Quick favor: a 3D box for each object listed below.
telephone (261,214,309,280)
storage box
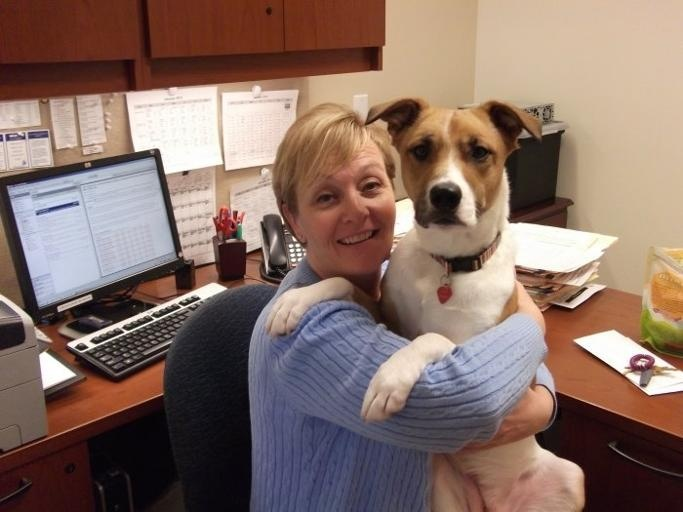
[{"bbox_3d":[-0.243,0.014,2.040,0.195,0.112,0.280,-16,58,-10],"label":"telephone"},{"bbox_3d":[1.115,-0.455,2.817,0.254,0.355,0.355,-11,-2,-32],"label":"storage box"}]
